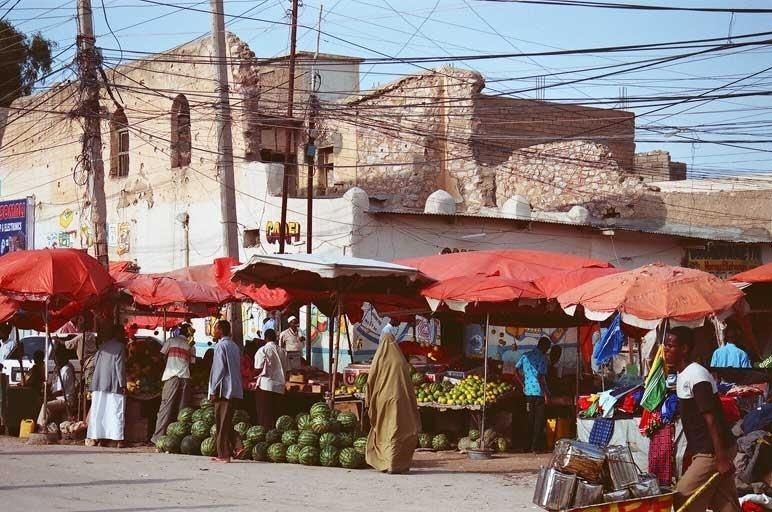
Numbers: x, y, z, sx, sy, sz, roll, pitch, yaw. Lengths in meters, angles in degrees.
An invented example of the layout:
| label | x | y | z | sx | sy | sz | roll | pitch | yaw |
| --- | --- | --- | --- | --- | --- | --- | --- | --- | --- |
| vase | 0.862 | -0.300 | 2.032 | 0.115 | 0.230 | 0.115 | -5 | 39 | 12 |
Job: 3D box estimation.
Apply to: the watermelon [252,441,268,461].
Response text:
| label | x | y | z | sx | sy | sz | roll | pitch | yaw |
| --- | --- | --- | --- | --- | --- | --- | --- | --- | --- |
| watermelon | -2.442 | 3.859 | 22.376 | 0.283 | 0.272 | 0.333 | 1 | 7 | 32 |

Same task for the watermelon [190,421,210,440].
| label | x | y | z | sx | sy | sz | roll | pitch | yaw |
| --- | --- | --- | --- | --- | --- | --- | --- | --- | --- |
| watermelon | -3.772 | 3.500 | 22.900 | 0.299 | 0.306 | 0.374 | 36 | 10 | 18 |

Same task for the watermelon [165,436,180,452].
| label | x | y | z | sx | sy | sz | roll | pitch | yaw |
| --- | --- | --- | --- | --- | --- | --- | --- | --- | --- |
| watermelon | -4.347 | 3.820 | 22.990 | 0.347 | 0.319 | 0.113 | 0 | -5 | 12 |

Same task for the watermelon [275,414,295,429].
| label | x | y | z | sx | sy | sz | roll | pitch | yaw |
| --- | --- | --- | --- | --- | --- | --- | --- | --- | --- |
| watermelon | -2.011 | 3.337 | 22.622 | 0.317 | 0.268 | 0.271 | -14 | 38 | -40 |

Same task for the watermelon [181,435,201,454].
| label | x | y | z | sx | sy | sz | roll | pitch | yaw |
| --- | --- | --- | --- | --- | --- | --- | --- | --- | --- |
| watermelon | -3.944 | 3.799 | 22.815 | 0.372 | 0.385 | 0.207 | 2 | -5 | -11 |

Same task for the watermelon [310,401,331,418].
| label | x | y | z | sx | sy | sz | roll | pitch | yaw |
| --- | --- | --- | --- | --- | --- | --- | --- | --- | --- |
| watermelon | -1.315 | 3.013 | 22.332 | 0.304 | 0.273 | 0.250 | -5 | -9 | 0 |

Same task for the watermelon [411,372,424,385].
| label | x | y | z | sx | sy | sz | roll | pitch | yaw |
| --- | --- | --- | --- | --- | --- | --- | --- | --- | --- |
| watermelon | 0.682 | 2.626 | 24.362 | 0.244 | 0.193 | 0.184 | 1 | -14 | -31 |

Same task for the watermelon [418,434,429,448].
| label | x | y | z | sx | sy | sz | roll | pitch | yaw |
| --- | --- | --- | --- | --- | --- | --- | --- | --- | --- |
| watermelon | 0.798 | 3.864 | 23.822 | 0.253 | 0.246 | 0.269 | 0 | 9 | 26 |

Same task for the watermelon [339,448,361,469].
| label | x | y | z | sx | sy | sz | roll | pitch | yaw |
| --- | --- | --- | --- | --- | --- | --- | --- | --- | --- |
| watermelon | -0.705 | 3.907 | 21.944 | 0.341 | 0.327 | 0.389 | 9 | 2 | 3 |

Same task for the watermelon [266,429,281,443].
| label | x | y | z | sx | sy | sz | roll | pitch | yaw |
| --- | --- | --- | --- | --- | --- | --- | --- | --- | --- |
| watermelon | -2.238 | 3.577 | 22.423 | 0.290 | 0.302 | 0.250 | 2 | -5 | -9 |

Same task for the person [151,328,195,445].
| label | x | y | z | sx | sy | sz | roll | pitch | yaw |
| --- | --- | --- | --- | --- | --- | --- | --- | --- | --- |
| person | -4.485 | 2.718 | 24.112 | 0.890 | 2.291 | 0.835 | 1 | -2 | -33 |

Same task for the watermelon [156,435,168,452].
| label | x | y | z | sx | sy | sz | roll | pitch | yaw |
| --- | --- | --- | --- | --- | --- | --- | --- | --- | --- |
| watermelon | -4.607 | 3.838 | 23.128 | 0.259 | 0.268 | 0.310 | 6 | -34 | -11 |

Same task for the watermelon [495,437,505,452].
| label | x | y | z | sx | sy | sz | roll | pitch | yaw |
| --- | --- | --- | --- | --- | --- | --- | --- | --- | --- |
| watermelon | 2.396 | 3.948 | 23.766 | 0.250 | 0.209 | 0.205 | 38 | -13 | -12 |

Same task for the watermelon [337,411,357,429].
| label | x | y | z | sx | sy | sz | roll | pitch | yaw |
| --- | --- | --- | --- | --- | --- | --- | --- | --- | --- |
| watermelon | -0.779 | 3.256 | 22.388 | 0.378 | 0.331 | 0.283 | 1 | -5 | -2 |

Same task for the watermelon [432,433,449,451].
| label | x | y | z | sx | sy | sz | roll | pitch | yaw |
| --- | --- | --- | --- | --- | --- | --- | --- | --- | --- |
| watermelon | 1.116 | 3.916 | 23.843 | 0.285 | 0.179 | 0.327 | -1 | 5 | -7 |

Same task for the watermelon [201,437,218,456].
| label | x | y | z | sx | sy | sz | roll | pitch | yaw |
| --- | --- | --- | --- | --- | --- | --- | --- | --- | --- |
| watermelon | -3.557 | 3.802 | 22.615 | 0.288 | 0.356 | 0.284 | 19 | -56 | -23 |

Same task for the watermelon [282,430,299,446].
| label | x | y | z | sx | sy | sz | roll | pitch | yaw |
| --- | --- | --- | --- | --- | --- | --- | --- | --- | --- |
| watermelon | -1.888 | 3.567 | 22.225 | 0.286 | 0.349 | 0.288 | 2 | -6 | 6 |

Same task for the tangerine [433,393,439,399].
| label | x | y | z | sx | sy | sz | roll | pitch | yaw |
| --- | --- | --- | --- | --- | --- | --- | --- | --- | --- |
| tangerine | 1.057 | 2.919 | 23.700 | 0.110 | 0.158 | 0.096 | 1 | -5 | -1 |

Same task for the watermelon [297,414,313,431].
| label | x | y | z | sx | sy | sz | roll | pitch | yaw |
| --- | --- | --- | --- | --- | --- | --- | --- | --- | --- |
| watermelon | -1.599 | 3.274 | 22.275 | 0.156 | 0.307 | 0.349 | 6 | -7 | -43 |

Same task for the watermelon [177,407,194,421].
| label | x | y | z | sx | sy | sz | roll | pitch | yaw |
| --- | --- | --- | --- | --- | --- | --- | --- | --- | --- |
| watermelon | -4.163 | 3.276 | 23.352 | 0.279 | 0.227 | 0.235 | -21 | -49 | 9 |

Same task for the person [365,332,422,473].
| label | x | y | z | sx | sy | sz | roll | pitch | yaw |
| --- | --- | --- | --- | --- | --- | --- | --- | --- | --- |
| person | 0.120 | 2.770 | 21.606 | 1.025 | 2.691 | 0.452 | 1 | -5 | -1 |

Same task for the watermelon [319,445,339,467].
| label | x | y | z | sx | sy | sz | roll | pitch | yaw |
| --- | --- | --- | --- | --- | --- | --- | --- | --- | --- |
| watermelon | -1.114 | 3.881 | 21.932 | 0.363 | 0.388 | 0.249 | 3 | -40 | -5 |

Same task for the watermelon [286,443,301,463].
| label | x | y | z | sx | sy | sz | roll | pitch | yaw |
| --- | --- | --- | --- | --- | --- | --- | --- | --- | --- |
| watermelon | -1.819 | 3.854 | 22.154 | 0.301 | 0.283 | 0.345 | -2 | 10 | 6 |

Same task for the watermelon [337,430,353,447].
| label | x | y | z | sx | sy | sz | roll | pitch | yaw |
| --- | --- | --- | --- | --- | --- | --- | --- | --- | --- |
| watermelon | -0.812 | 3.575 | 22.087 | 0.251 | 0.130 | 0.245 | 17 | -22 | -21 |

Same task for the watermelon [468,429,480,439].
| label | x | y | z | sx | sy | sz | roll | pitch | yaw |
| --- | --- | --- | --- | --- | --- | --- | --- | --- | --- |
| watermelon | 1.855 | 3.737 | 23.782 | 0.211 | 0.201 | 0.374 | 0 | -5 | 7 |

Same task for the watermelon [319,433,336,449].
| label | x | y | z | sx | sy | sz | roll | pitch | yaw |
| --- | --- | --- | --- | --- | --- | --- | --- | --- | --- |
| watermelon | -1.152 | 3.588 | 22.020 | 0.294 | 0.178 | 0.267 | -1 | -3 | -44 |

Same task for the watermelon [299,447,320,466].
| label | x | y | z | sx | sy | sz | roll | pitch | yaw |
| --- | --- | --- | --- | --- | --- | --- | --- | --- | --- |
| watermelon | -1.514 | 3.876 | 22.016 | 0.398 | 0.310 | 0.317 | -2 | 10 | -20 |

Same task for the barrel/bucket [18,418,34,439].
| label | x | y | z | sx | sy | sz | roll | pitch | yaw |
| --- | --- | --- | --- | --- | --- | --- | --- | --- | --- |
| barrel/bucket | -7.910 | 3.784 | 24.817 | 0.334 | 0.423 | 0.246 | 7 | -13 | 15 |

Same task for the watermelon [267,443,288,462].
| label | x | y | z | sx | sy | sz | roll | pitch | yaw |
| --- | --- | --- | --- | --- | --- | --- | --- | --- | --- |
| watermelon | -2.167 | 3.842 | 22.209 | 0.382 | 0.289 | 0.296 | 2 | 8 | -39 |

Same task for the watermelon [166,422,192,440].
| label | x | y | z | sx | sy | sz | roll | pitch | yaw |
| --- | --- | --- | --- | --- | --- | --- | --- | --- | --- |
| watermelon | -4.266 | 3.547 | 23.122 | 0.346 | 0.232 | 0.373 | -3 | 3 | 14 |

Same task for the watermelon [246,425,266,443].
| label | x | y | z | sx | sy | sz | roll | pitch | yaw |
| --- | --- | --- | --- | --- | --- | --- | --- | --- | --- |
| watermelon | -2.605 | 3.534 | 22.537 | 0.327 | 0.297 | 0.203 | 7 | -18 | -5 |

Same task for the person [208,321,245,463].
| label | x | y | z | sx | sy | sz | roll | pitch | yaw |
| --- | --- | --- | --- | --- | --- | --- | --- | --- | --- |
| person | -3.101 | 2.703 | 22.145 | 0.909 | 2.462 | 0.929 | 2 | -3 | -42 |
